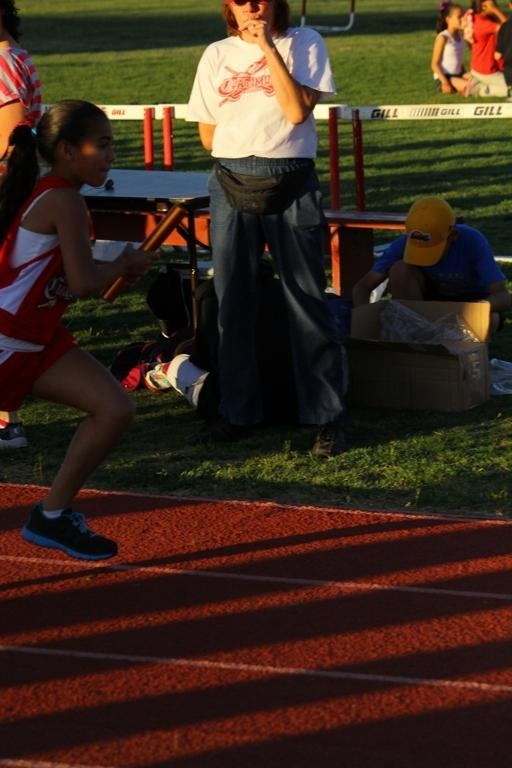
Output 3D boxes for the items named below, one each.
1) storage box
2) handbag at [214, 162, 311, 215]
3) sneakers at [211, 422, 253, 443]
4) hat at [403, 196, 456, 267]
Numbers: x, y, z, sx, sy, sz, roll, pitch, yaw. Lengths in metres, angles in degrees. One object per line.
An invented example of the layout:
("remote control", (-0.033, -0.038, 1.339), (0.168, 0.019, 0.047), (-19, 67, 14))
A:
("storage box", (0.871, -0.160, 4.298), (0.677, 0.470, 0.662), (3, 12, 26))
("handbag", (0.004, -0.809, 3.477), (0.419, 0.202, 0.171), (4, 24, 19))
("sneakers", (-0.113, 0.225, 3.898), (0.161, 0.049, 0.093), (0, 1, -30))
("hat", (0.899, -0.797, 4.409), (0.244, 0.354, 0.270), (-13, 24, -19))
